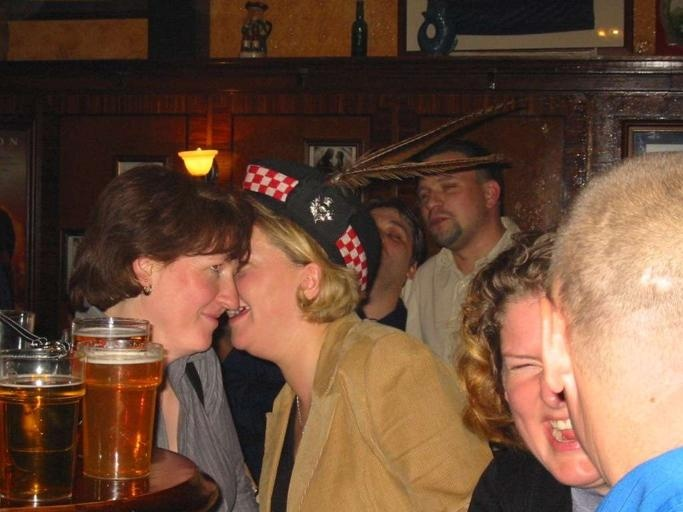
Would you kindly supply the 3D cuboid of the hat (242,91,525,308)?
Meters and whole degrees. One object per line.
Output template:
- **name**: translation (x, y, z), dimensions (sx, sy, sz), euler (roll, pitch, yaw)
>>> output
- **hat**: translation (0.175, -0.256, 4.774), dimensions (1.378, 0.838, 0.749), euler (3, -17, 8)

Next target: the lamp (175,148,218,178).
- **lamp**: translation (-1.072, -0.611, 6.718), dimensions (0.263, 0.159, 0.257), euler (-3, -3, 21)
